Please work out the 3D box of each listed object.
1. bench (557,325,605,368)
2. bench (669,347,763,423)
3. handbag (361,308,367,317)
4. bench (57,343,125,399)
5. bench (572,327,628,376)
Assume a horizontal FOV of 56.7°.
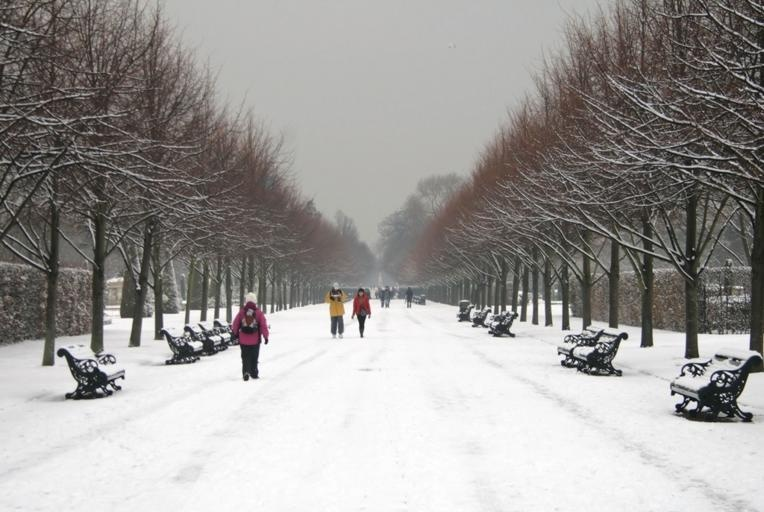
[{"bbox_3d":[5.474,2.459,19.544,1.162,1.174,0.982,-2,7,-44],"label":"bench"},{"bbox_3d":[6.763,2.525,14.315,1.531,1.345,1.599,2,5,29],"label":"bench"},{"bbox_3d":[-0.778,2.296,29.026,0.169,0.281,0.059,6,2,21],"label":"handbag"},{"bbox_3d":[-6.547,2.590,16.024,0.909,1.038,1.690,1,-2,-6],"label":"bench"},{"bbox_3d":[5.609,2.564,18.343,0.872,1.214,1.661,2,-7,-8],"label":"bench"}]
